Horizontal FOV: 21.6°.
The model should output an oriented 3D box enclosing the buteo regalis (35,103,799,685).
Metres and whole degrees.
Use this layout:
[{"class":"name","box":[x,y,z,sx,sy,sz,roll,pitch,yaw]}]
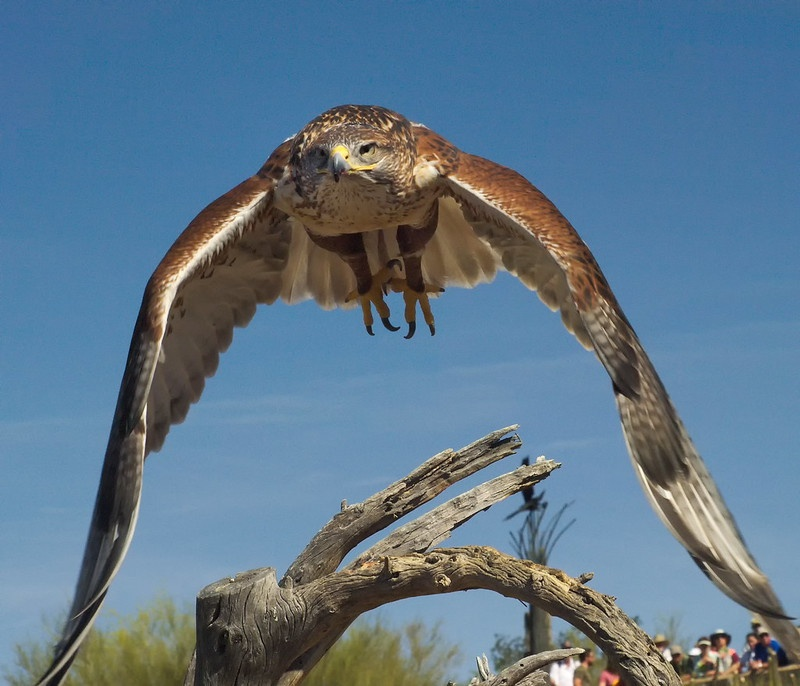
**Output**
[{"class":"buteo regalis","box":[-0.017,0.408,15.598,4.667,4.636,2.233,-16,-28,14]}]
